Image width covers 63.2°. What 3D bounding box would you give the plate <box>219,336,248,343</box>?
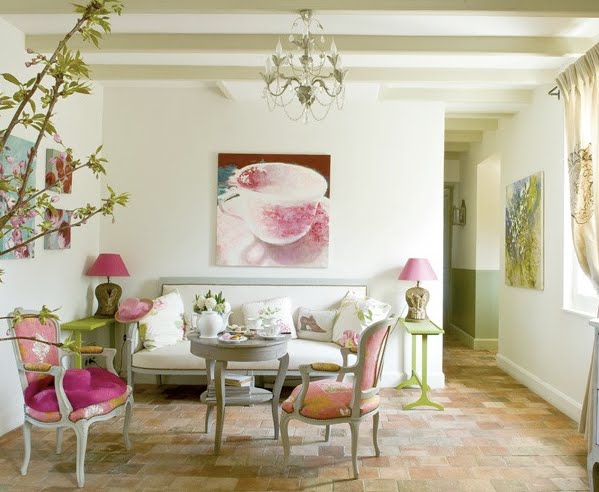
[{"bbox_3d":[-0.527,0.743,3.853,0.204,0.034,0.143,1,4,7],"label":"plate"}]

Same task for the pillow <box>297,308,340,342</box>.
[{"bbox_3d":[0.200,0.853,5.226,0.275,0.262,0.110,4,-15,13],"label":"pillow"}]

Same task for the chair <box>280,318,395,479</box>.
[{"bbox_3d":[0.270,1.083,3.716,0.789,1.138,0.846,2,0,-30],"label":"chair"}]

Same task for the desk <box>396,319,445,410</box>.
[{"bbox_3d":[1.279,1.254,5.223,0.368,0.756,1.078,1,-5,8],"label":"desk"}]

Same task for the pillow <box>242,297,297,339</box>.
[{"bbox_3d":[-0.296,0.711,4.796,0.342,0.302,0.175,-7,-39,-9],"label":"pillow"}]

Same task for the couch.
[{"bbox_3d":[-0.761,0.948,5.252,2.226,1.091,0.794,-2,9,23],"label":"couch"}]

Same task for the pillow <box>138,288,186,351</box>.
[{"bbox_3d":[-1.424,0.773,5.043,0.149,0.518,0.516,-15,-5,28],"label":"pillow"}]

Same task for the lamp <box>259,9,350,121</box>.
[{"bbox_3d":[0.042,-1.557,4.093,0.642,0.964,0.663,2,1,16],"label":"lamp"}]

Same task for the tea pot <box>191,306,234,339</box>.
[{"bbox_3d":[-0.740,0.645,4.055,0.260,0.192,0.203,3,-7,-11],"label":"tea pot"}]

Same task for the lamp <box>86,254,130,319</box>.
[{"bbox_3d":[-2.094,0.410,5.310,0.413,0.664,0.473,-2,4,-26],"label":"lamp"}]

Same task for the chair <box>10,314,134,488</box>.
[{"bbox_3d":[-1.767,1.078,3.763,0.916,1.101,0.767,2,4,25],"label":"chair"}]

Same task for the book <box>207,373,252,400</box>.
[{"bbox_3d":[-0.589,1.183,4.095,0.287,0.117,0.293,0,0,2],"label":"book"}]

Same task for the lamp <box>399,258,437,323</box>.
[{"bbox_3d":[1.272,0.455,5.258,0.384,0.651,0.434,1,4,16],"label":"lamp"}]
